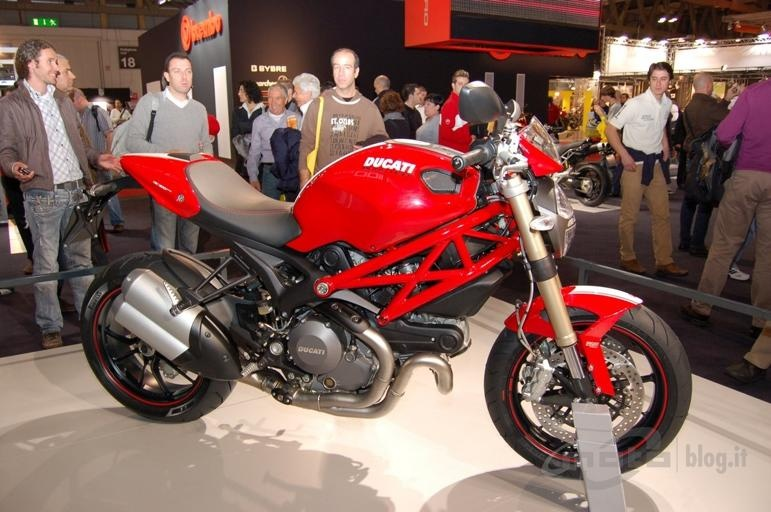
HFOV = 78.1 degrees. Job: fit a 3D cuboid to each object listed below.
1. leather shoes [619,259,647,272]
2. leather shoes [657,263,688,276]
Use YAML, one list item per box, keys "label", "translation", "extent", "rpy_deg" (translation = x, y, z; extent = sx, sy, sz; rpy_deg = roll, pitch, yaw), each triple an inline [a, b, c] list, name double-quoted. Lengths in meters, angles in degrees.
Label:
- label: "leather shoes"
  translation: [3.101, 0.124, 5.949]
  extent: [0.316, 0.139, 0.162]
  rpy_deg: [17, 23, 40]
- label: "leather shoes"
  translation: [3.487, 0.151, 5.816]
  extent: [0.334, 0.171, 0.141]
  rpy_deg: [2, 10, 25]
